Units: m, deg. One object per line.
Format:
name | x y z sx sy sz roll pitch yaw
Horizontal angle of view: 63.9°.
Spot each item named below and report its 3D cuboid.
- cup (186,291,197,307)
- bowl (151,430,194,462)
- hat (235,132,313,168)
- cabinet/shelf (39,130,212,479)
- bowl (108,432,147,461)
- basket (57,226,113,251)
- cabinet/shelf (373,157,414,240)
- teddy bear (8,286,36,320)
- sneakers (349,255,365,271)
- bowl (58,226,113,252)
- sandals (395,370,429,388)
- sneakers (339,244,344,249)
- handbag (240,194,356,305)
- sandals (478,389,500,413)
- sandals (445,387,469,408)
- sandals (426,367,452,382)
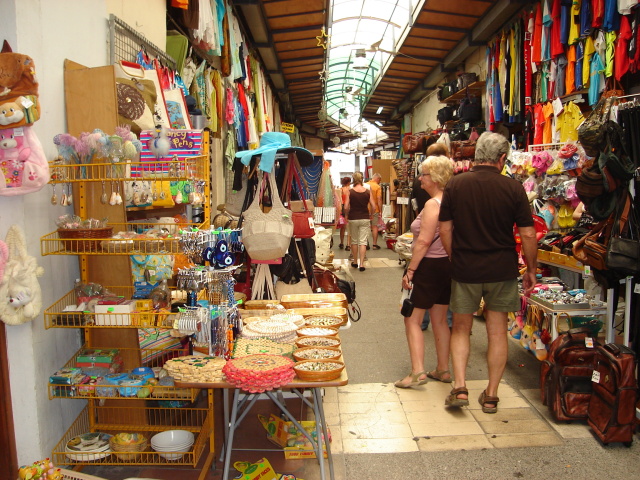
cup | -0.753 0.344 3.051 0.059 0.101 0.033 -2 10 -8
bowl | -0.961 1.355 3.386 0.268 0.138 0.190 -3 10 -15
hat | -0.411 -0.779 4.489 0.493 0.341 0.785 3 10 21
cabinet/shelf | -1.235 0.401 3.506 1.054 2.221 0.984 -2 10 -8
bowl | -1.231 1.328 3.326 0.175 0.113 0.173 1 -11 0
basket | -1.455 -0.007 3.184 0.180 0.095 0.225 0 -3 -3
cabinet/shelf | 1.999 -1.168 14.004 1.398 2.411 2.547 -3 7 -1
teddy bear | -1.711 0.361 2.974 0.077 0.172 0.133 4 10 30
sneakers | 0.789 0.488 10.143 0.130 0.176 0.421 -2 13 -9
bowl | -1.457 -0.007 3.233 0.183 0.094 0.225 0 -3 -4
sandals | 0.804 1.230 4.564 0.339 0.143 0.123 -7 9 40
sneakers | 0.569 0.162 13.228 0.100 0.131 0.137 1 -1 -2
handbag | -0.011 0.238 5.044 0.731 1.166 1.189 0 11 11
sandals | 1.367 1.303 4.136 0.087 0.096 0.220 0 8 6
sandals | 1.096 1.263 4.132 0.118 0.113 0.248 -1 0 4
sandals | 1.088 1.229 4.702 0.102 0.095 0.240 -1 5 -37
